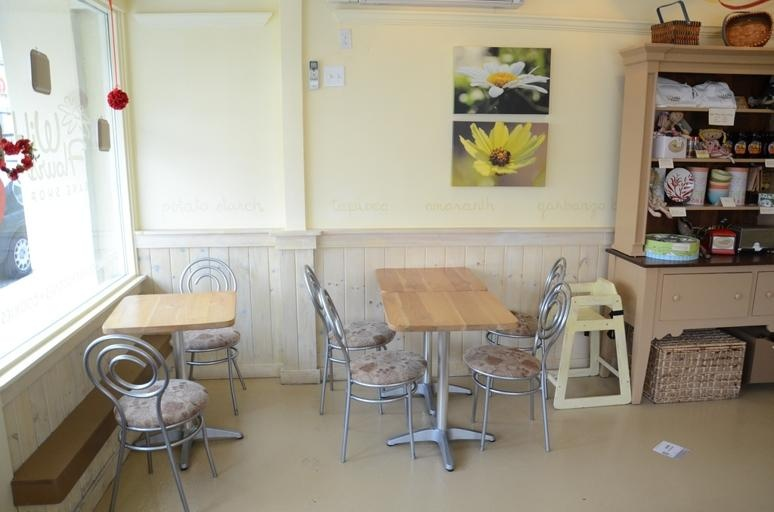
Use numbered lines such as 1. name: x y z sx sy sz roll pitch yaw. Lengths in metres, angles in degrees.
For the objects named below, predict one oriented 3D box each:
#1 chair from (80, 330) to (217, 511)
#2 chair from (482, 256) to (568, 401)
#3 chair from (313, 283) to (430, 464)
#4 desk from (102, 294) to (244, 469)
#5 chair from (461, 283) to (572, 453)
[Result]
1. chair: -1.531 0.965 3.522 0.652 1.197 1.179 -9 12 -25
2. chair: 1.095 0.487 4.362 0.620 0.959 0.494 -2 11 11
3. chair: -0.099 0.832 3.871 0.783 1.149 0.660 1 8 -4
4. desk: -1.376 0.548 3.578 0.704 0.668 0.650 -25 -10 -18
5. chair: 0.896 0.753 3.916 0.722 1.166 0.603 -1 11 0
